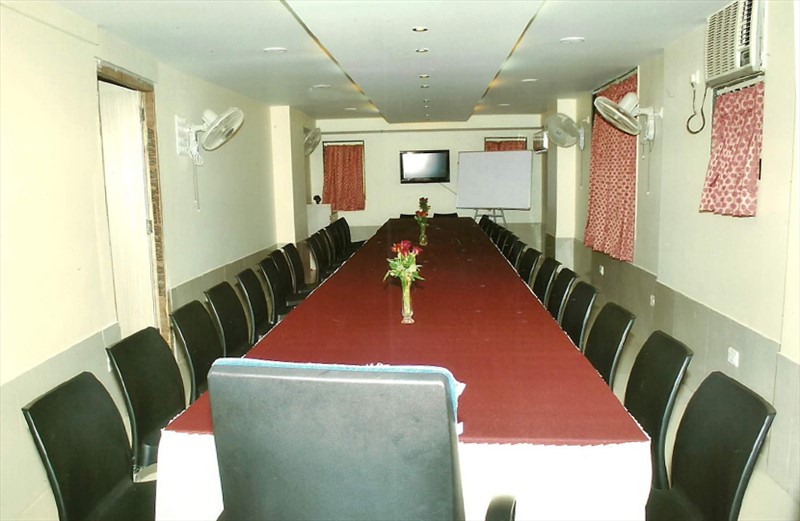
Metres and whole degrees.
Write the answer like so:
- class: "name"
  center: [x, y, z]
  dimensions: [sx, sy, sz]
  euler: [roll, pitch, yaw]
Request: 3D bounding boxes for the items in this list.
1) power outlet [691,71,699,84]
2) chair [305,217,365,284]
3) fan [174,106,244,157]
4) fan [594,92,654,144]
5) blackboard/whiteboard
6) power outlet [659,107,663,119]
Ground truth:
- class: "power outlet"
  center: [2.833, -1.766, 5.623]
  dimensions: [0.106, 0.108, 0.062]
  euler: [7, 13, 39]
- class: "chair"
  center: [-0.950, -0.158, 8.133]
  dimensions: [0.336, 0.459, 1.139]
  euler: [0, 16, 5]
- class: "fan"
  center: [-2.191, -1.468, 6.596]
  dimensions: [0.477, 0.650, 0.518]
  euler: [26, 52, 3]
- class: "fan"
  center: [2.401, -1.502, 6.203]
  dimensions: [0.566, 0.446, 0.451]
  euler: [6, 3, 24]
- class: "blackboard/whiteboard"
  center: [1.812, -1.547, 11.178]
  dimensions: [1.141, 0.902, 0.119]
  euler: [1, 1, 14]
- class: "power outlet"
  center: [2.842, -1.614, 6.378]
  dimensions: [0.024, 0.105, 0.095]
  euler: [5, -5, 13]
